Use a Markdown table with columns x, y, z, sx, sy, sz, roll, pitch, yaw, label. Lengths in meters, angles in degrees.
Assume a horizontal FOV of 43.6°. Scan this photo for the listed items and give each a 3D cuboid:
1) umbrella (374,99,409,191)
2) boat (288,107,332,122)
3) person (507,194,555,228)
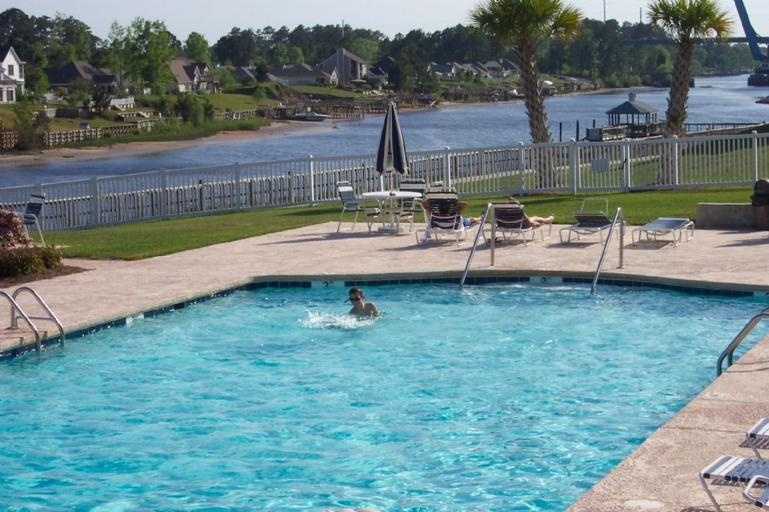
| x | y | z | sx | sy | sz | roll | pitch | yaw | label |
| --- | --- | --- | --- | --- | --- | --- | --- | --- | --- |
| 0.163 | -3.126 | 24.957 | 0.851 | 1.906 | 0.621 | 3 | 16 | 20 | umbrella |
| -11.325 | -21.444 | 141.065 | 6.824 | 2.111 | 2.838 | 1 | 6 | 2 | boat |
| 3.233 | -0.996 | 22.021 | 0.666 | 0.756 | 2.077 | 0 | 7 | 27 | person |
